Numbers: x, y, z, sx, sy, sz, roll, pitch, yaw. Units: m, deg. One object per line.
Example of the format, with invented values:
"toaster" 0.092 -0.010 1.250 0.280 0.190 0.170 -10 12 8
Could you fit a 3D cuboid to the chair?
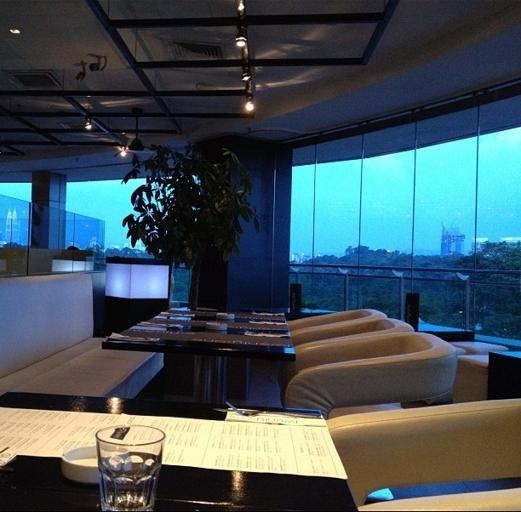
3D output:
"chair" 0.510 0.546 1.724 0.693 0.702 0.606 2 3 -13
